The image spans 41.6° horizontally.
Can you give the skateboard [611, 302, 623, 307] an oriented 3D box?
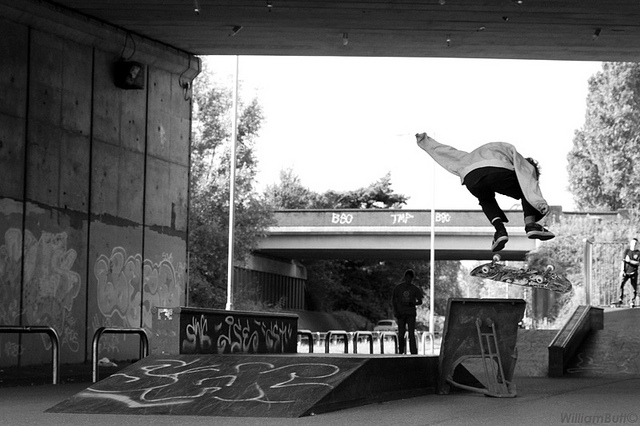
[{"bbox_3d":[10.994,3.387,31.354,0.393,0.161,0.302,-2,0,5],"label":"skateboard"}]
